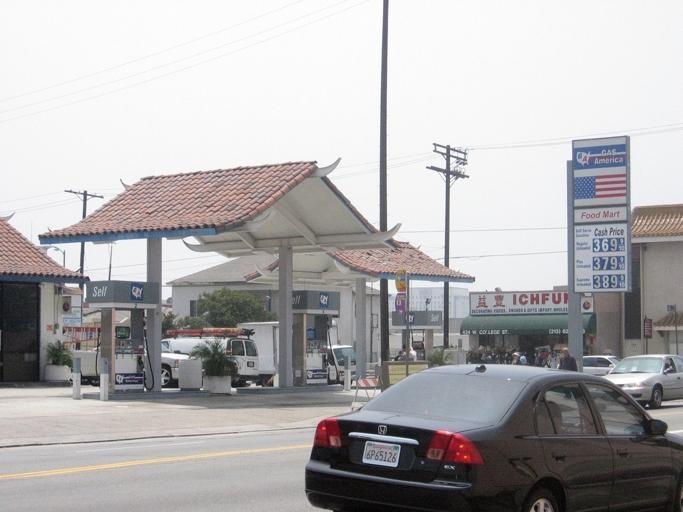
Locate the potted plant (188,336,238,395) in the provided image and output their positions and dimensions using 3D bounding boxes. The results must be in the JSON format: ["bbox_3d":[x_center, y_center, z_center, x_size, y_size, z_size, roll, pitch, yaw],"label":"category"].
[{"bbox_3d":[-3.981,3.742,32.177,1.585,1.742,1.669,2,12,-15],"label":"potted plant"}]

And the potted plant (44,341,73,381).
[{"bbox_3d":[-11.398,4.219,37.693,0.655,1.677,1.229,-7,-10,44],"label":"potted plant"}]
